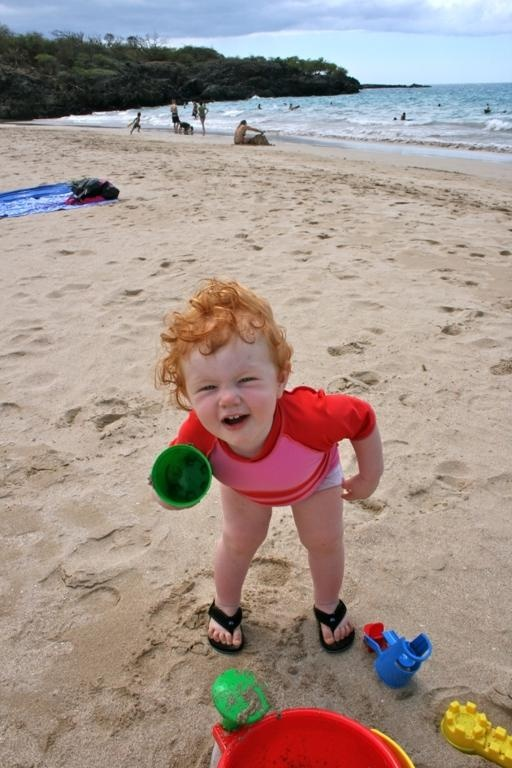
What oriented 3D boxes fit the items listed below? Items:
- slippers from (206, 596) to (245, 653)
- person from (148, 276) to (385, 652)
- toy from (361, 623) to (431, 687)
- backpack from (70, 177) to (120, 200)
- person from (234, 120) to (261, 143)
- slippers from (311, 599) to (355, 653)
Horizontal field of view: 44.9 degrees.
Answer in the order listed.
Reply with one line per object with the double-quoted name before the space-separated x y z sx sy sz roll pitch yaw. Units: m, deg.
"slippers" -0.081 0.725 1.895 0.096 0.069 0.264 6 5 -3
"person" 0.043 0.264 1.686 0.554 1.074 0.359 -5 26 -15
"toy" 0.388 0.712 1.713 0.102 0.182 0.187 -5 42 -21
"backpack" -2.010 -2.355 7.767 0.480 0.266 0.358 9 64 7
"person" -0.290 -6.337 15.581 0.502 0.543 1.202 1 25 -3
"slippers" 0.237 0.719 1.894 0.101 0.083 0.280 -11 3 0
